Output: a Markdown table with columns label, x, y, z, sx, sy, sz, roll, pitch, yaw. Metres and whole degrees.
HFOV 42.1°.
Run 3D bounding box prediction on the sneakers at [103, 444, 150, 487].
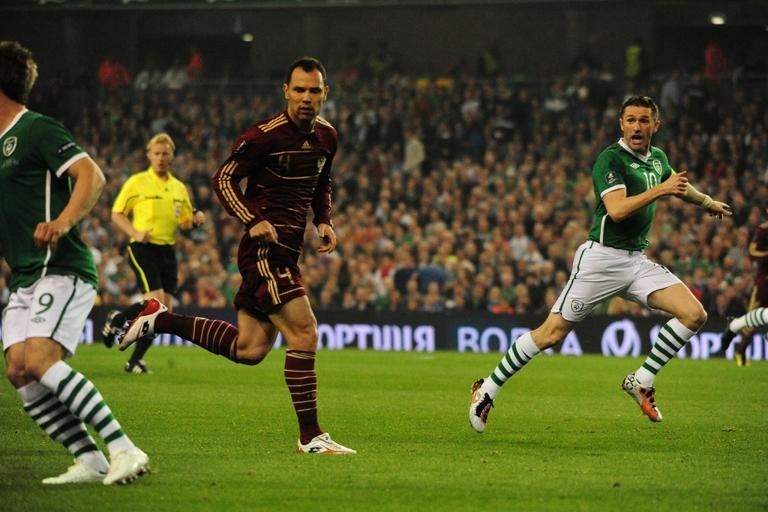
| label | x | y | z | sx | sy | sz | roll | pitch | yaw |
| --- | --- | --- | --- | --- | --- | --- | --- | --- | --- |
| sneakers | -2.481 | 2.035 | 9.667 | 0.267 | 0.266 | 0.470 | -10 | -9 | -4 |

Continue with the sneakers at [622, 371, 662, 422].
| label | x | y | z | sx | sy | sz | roll | pitch | yaw |
| --- | --- | --- | --- | --- | --- | --- | --- | --- | --- |
| sneakers | 3.050 | 1.693 | 11.869 | 0.603 | 0.295 | 0.200 | 49 | 9 | -1 |

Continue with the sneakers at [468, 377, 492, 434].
| label | x | y | z | sx | sy | sz | roll | pitch | yaw |
| --- | --- | --- | --- | --- | --- | --- | --- | --- | --- |
| sneakers | 1.102 | 1.715 | 11.213 | 0.205 | 0.625 | 0.268 | 19 | -29 | -35 |

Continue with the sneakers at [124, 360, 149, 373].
| label | x | y | z | sx | sy | sz | roll | pitch | yaw |
| --- | --- | --- | --- | --- | --- | --- | --- | --- | --- |
| sneakers | -3.505 | 1.582 | 14.210 | 0.426 | 0.189 | 0.145 | 4 | 12 | -23 |

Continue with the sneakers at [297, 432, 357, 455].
| label | x | y | z | sx | sy | sz | roll | pitch | yaw |
| --- | --- | --- | --- | --- | --- | --- | --- | --- | --- |
| sneakers | -0.607 | 1.999 | 10.579 | 0.644 | 0.251 | 0.233 | 1 | -5 | 0 |
